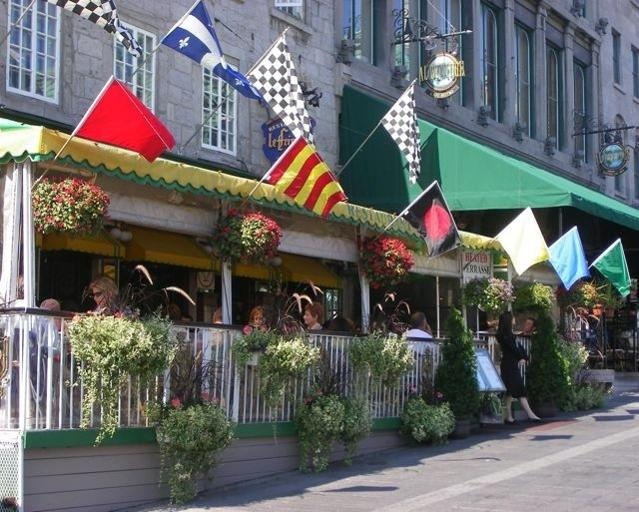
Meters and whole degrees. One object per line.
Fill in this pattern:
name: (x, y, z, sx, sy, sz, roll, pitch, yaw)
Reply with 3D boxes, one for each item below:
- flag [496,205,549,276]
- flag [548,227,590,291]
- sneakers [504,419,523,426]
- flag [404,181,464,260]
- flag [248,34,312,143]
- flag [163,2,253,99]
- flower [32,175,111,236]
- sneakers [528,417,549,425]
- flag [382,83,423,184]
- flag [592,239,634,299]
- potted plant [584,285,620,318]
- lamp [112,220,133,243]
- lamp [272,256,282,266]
flag: (3.942, -0.281, 23.611, 0.893, 1.258, 0.642, 29, 0, 0)
flag: (5.032, 0.113, 24.233, 0.101, 0.847, 1.095, -6, 25, 47)
sneakers: (3.409, 2.940, 21.097, 0.299, 0.164, 0.108, 0, -2, -12)
flag: (2.046, -0.618, 21.790, 0.153, 1.099, 1.238, 34, -13, 52)
flag: (-0.657, -2.803, 20.270, 0.943, 2.490, 2.531, -3, -12, 0)
flag: (-1.758, -3.293, 18.559, 0.576, 1.076, 1.657, -11, -14, 34)
flower: (-3.425, -0.667, 16.474, 1.022, 0.882, 1.093, 0, 5, -4)
sneakers: (3.872, 2.957, 21.263, 0.341, 0.148, 0.123, -11, -9, 31)
flag: (1.660, -2.456, 23.324, 0.668, 1.944, 1.110, -7, -12, 21)
flag: (6.430, 0.258, 26.501, 0.104, 1.050, 1.012, 1, -46, 52)
potted plant: (6.156, 0.983, 26.299, 0.748, 0.886, 0.822, 1, -7, -14)
lamp: (-3.181, -0.387, 19.215, 0.250, 0.218, 0.446, -1, 3, -20)
lamp: (-0.741, 0.104, 20.811, 0.150, 0.141, 0.153, 5, 7, 42)
